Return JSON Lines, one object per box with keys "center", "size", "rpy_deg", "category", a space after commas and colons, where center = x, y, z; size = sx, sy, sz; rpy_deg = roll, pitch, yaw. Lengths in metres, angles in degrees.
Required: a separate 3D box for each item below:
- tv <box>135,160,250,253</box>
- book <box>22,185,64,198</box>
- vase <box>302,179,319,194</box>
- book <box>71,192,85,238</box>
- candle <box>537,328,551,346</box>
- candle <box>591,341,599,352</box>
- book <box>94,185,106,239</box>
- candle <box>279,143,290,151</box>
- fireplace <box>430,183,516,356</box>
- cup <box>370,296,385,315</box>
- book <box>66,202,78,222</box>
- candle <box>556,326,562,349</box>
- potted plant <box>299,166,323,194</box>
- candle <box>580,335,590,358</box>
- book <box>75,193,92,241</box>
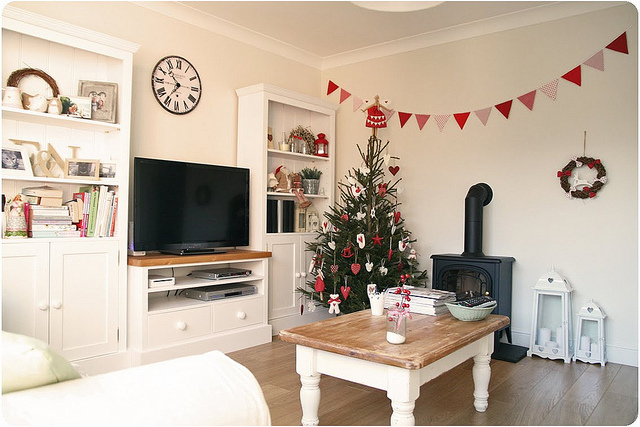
{"center": [-1.227, -0.059, 4.286], "size": [1.329, 0.875, 0.312], "rpy_deg": [2, 6, 17], "category": "tv"}
{"center": [-2.260, -0.169, 3.519], "size": [0.281, 0.071, 0.086], "rpy_deg": [-1, 7, -18], "category": "book"}
{"center": [-0.122, -0.332, 5.172], "size": [0.165, 0.127, 0.173], "rpy_deg": [0, -1, -8], "category": "vase"}
{"center": [-2.010, 0.000, 3.643], "size": [0.070, 0.270, 0.280], "rpy_deg": [-2, 6, -24], "category": "book"}
{"center": [2.168, 1.196, 4.212], "size": [0.110, 0.158, 0.088], "rpy_deg": [4, 8, 25], "category": "candle"}
{"center": [2.527, 1.231, 4.004], "size": [0.062, 0.065, 0.060], "rpy_deg": [0, 1, -16], "category": "candle"}
{"center": [-1.875, -0.018, 3.676], "size": [0.070, 0.548, 0.440], "rpy_deg": [5, -5, -26], "category": "book"}
{"center": [-0.405, -0.763, 4.964], "size": [0.092, 0.061, 0.089], "rpy_deg": [1, 0, 15], "category": "candle"}
{"center": [1.645, 0.506, 4.654], "size": [0.850, 1.778, 0.710], "rpy_deg": [2, 2, 34], "category": "fireplace"}
{"center": [0.417, 0.671, 3.199], "size": [0.132, 0.128, 0.125], "rpy_deg": [1, -1, 0], "category": "cup"}
{"center": [-2.058, -0.011, 3.594], "size": [0.058, 0.149, 0.170], "rpy_deg": [0, -1, -37], "category": "book"}
{"center": [2.289, 1.179, 4.154], "size": [0.045, 0.195, 0.050], "rpy_deg": [3, 8, 19], "category": "candle"}
{"center": [-0.117, -0.394, 5.194], "size": [0.290, 0.307, 0.313], "rpy_deg": [-5, -6, 43], "category": "potted plant"}
{"center": [2.461, 1.205, 4.041], "size": [0.076, 0.124, 0.041], "rpy_deg": [5, 8, 31], "category": "candle"}
{"center": [-1.984, 0.021, 3.623], "size": [0.065, 0.427, 0.388], "rpy_deg": [1, -5, -28], "category": "book"}
